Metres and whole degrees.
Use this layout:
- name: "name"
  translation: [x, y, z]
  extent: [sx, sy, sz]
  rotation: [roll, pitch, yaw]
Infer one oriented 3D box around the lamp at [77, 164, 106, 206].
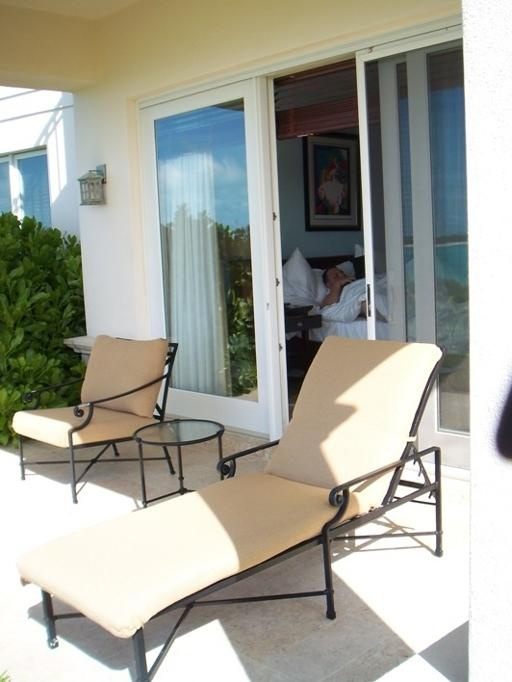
- name: "lamp"
  translation: [-1.484, -1.413, 5.266]
  extent: [0.247, 0.356, 0.171]
  rotation: [1, 7, 43]
